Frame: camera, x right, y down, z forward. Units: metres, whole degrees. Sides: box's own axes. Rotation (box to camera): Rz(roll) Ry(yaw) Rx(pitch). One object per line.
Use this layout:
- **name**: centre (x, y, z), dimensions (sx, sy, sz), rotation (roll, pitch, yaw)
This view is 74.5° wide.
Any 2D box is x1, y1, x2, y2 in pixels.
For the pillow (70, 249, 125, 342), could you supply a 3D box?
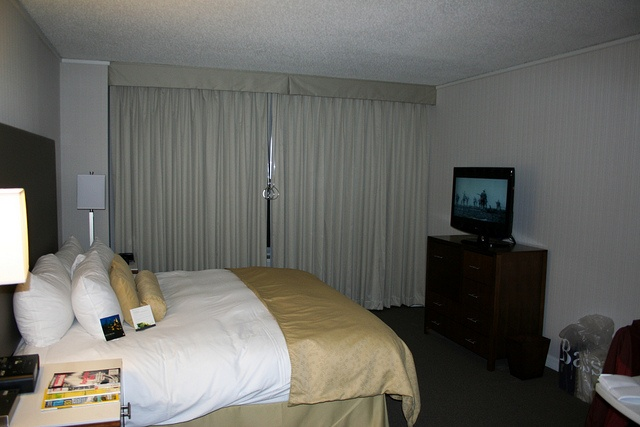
- **pillow**: centre (-1.986, 0.720, 3.709), dimensions (0.330, 0.590, 0.851), rotation (0, 14, -26)

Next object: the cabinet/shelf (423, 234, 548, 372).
- **cabinet/shelf**: centre (1.973, 1.001, 5.239), dimensions (0.726, 1.311, 1.194), rotation (-3, 8, -23)

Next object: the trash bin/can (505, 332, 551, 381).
- **trash bin/can**: centre (2.268, 1.571, 4.660), dimensions (0.320, 0.415, 0.437), rotation (-4, -2, -6)

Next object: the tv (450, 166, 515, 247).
- **tv**: centre (2.040, -0.104, 5.189), dimensions (0.288, 0.885, 0.867), rotation (-5, 10, -31)

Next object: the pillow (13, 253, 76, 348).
- **pillow**: centre (-2.377, 0.705, 3.662), dimensions (0.416, 0.612, 1.091), rotation (5, 10, -25)
